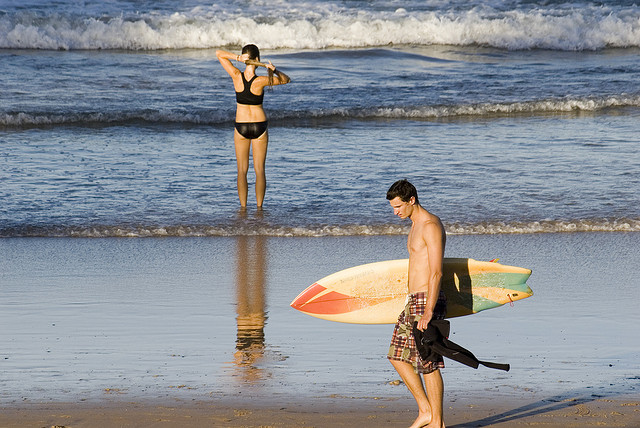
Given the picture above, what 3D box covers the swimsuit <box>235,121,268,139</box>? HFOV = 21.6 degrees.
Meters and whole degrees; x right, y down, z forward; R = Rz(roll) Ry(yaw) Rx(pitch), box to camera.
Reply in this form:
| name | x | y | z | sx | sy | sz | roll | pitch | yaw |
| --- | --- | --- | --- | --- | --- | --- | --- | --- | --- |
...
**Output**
| name | x | y | z | sx | sy | sz | roll | pitch | yaw |
| --- | --- | --- | --- | --- | --- | --- | --- | --- | --- |
| swimsuit | -1.597 | -1.841 | 38.031 | 0.653 | 0.281 | 0.413 | 0 | 10 | -3 |
